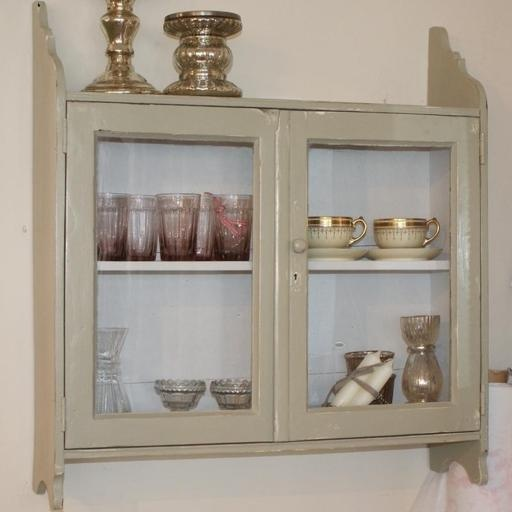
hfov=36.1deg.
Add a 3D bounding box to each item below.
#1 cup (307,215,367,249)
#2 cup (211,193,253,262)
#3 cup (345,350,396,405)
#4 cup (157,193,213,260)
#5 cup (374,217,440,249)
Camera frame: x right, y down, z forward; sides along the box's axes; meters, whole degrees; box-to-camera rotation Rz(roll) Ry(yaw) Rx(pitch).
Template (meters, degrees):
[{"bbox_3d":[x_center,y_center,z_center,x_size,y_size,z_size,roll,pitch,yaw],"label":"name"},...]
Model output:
[{"bbox_3d":[0.163,-0.043,1.613,0.074,0.054,0.065,0,-1,-14],"label":"cup"},{"bbox_3d":[-0.042,-0.054,1.588,0.093,0.187,0.105,0,-5,-3],"label":"cup"},{"bbox_3d":[0.236,0.243,1.631,0.081,0.157,0.115,-2,-5,19],"label":"cup"},{"bbox_3d":[-0.146,-0.055,1.627,0.105,0.151,0.111,0,-2,0],"label":"cup"},{"bbox_3d":[0.318,-0.047,1.653,0.085,0.056,0.077,0,-3,-2],"label":"cup"}]
